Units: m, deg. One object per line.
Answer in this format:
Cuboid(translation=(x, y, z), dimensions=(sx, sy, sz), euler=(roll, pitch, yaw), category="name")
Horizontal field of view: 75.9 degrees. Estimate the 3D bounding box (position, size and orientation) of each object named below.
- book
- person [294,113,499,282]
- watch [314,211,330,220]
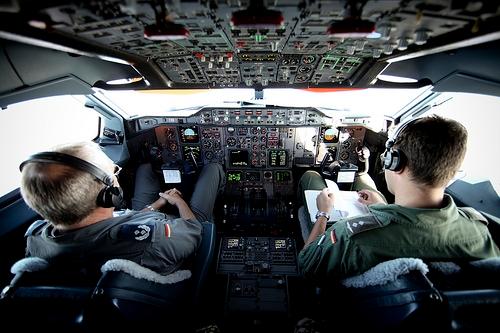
Cuboid(translation=(0.967, 0.419, 3.353), dimensions=(0.436, 0.084, 0.383), euler=(-2, 26, -2), category="book")
Cuboid(translation=(1.134, 0.181, 3.057), dimensions=(1.264, 0.980, 1.718), euler=(0, 10, 2), category="person")
Cuboid(translation=(0.691, 0.471, 3.063), dimensions=(0.119, 0.066, 0.113), euler=(6, -9, 16), category="watch")
